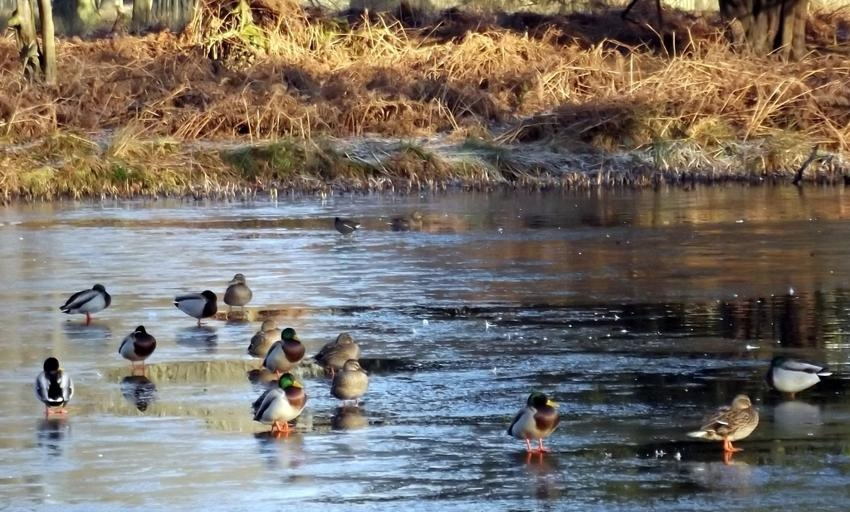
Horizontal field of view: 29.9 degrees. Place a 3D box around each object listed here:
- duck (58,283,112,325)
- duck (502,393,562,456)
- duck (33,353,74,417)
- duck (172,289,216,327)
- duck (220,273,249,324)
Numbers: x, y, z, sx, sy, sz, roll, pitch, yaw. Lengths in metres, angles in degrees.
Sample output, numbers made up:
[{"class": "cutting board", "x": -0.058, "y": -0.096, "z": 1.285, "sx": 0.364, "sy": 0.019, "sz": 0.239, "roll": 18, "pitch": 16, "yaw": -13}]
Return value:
[{"class": "duck", "x": -5.510, "y": 0.784, "z": 26.004, "sx": 0.752, "sy": 0.629, "sz": 0.574, "roll": -1, "pitch": 3, "yaw": 14}, {"class": "duck", "x": 1.417, "y": 2.225, "z": 21.115, "sx": 0.675, "sy": 0.818, "sz": 0.418, "roll": -1, "pitch": 3, "yaw": 9}, {"class": "duck", "x": -5.127, "y": 1.823, "z": 21.991, "sx": 0.492, "sy": 0.797, "sz": 0.661, "roll": -3, "pitch": 3, "yaw": -13}, {"class": "duck", "x": -3.710, "y": 0.847, "z": 25.799, "sx": 0.663, "sy": 0.562, "sz": 0.589, "roll": -2, "pitch": 3, "yaw": 0}, {"class": "duck", "x": -3.132, "y": 0.679, "z": 26.468, "sx": 0.427, "sy": 0.766, "sz": 0.694, "roll": -2, "pitch": 3, "yaw": -7}]
